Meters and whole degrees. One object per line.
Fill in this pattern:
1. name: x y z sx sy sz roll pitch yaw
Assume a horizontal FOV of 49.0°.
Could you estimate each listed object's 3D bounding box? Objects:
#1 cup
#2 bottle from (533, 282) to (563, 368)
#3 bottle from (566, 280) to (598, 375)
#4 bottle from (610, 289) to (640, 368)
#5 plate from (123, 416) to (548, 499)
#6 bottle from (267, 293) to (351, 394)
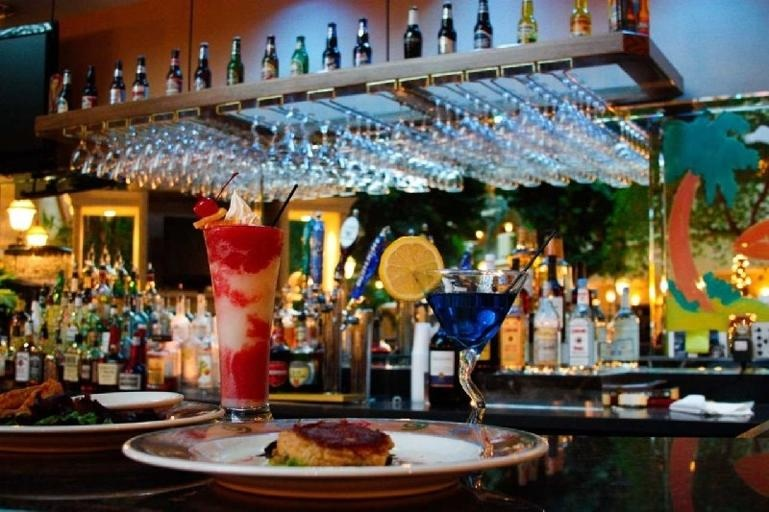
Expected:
1. cup: -0.426 0.193 2.522 0.225 0.577 0.187 1 -5 -12
2. bottle: 0.754 0.313 3.892 0.124 0.392 0.292 -2 -5 13
3. bottle: 0.897 0.307 3.864 0.136 0.412 0.250 -2 -5 12
4. bottle: 1.161 0.331 4.099 0.130 0.363 0.225 -2 -5 15
5. plate: -0.107 0.510 2.179 0.956 0.097 0.932 8 -5 -36
6. bottle: -0.346 0.400 3.856 0.420 0.536 0.410 2 -6 0
